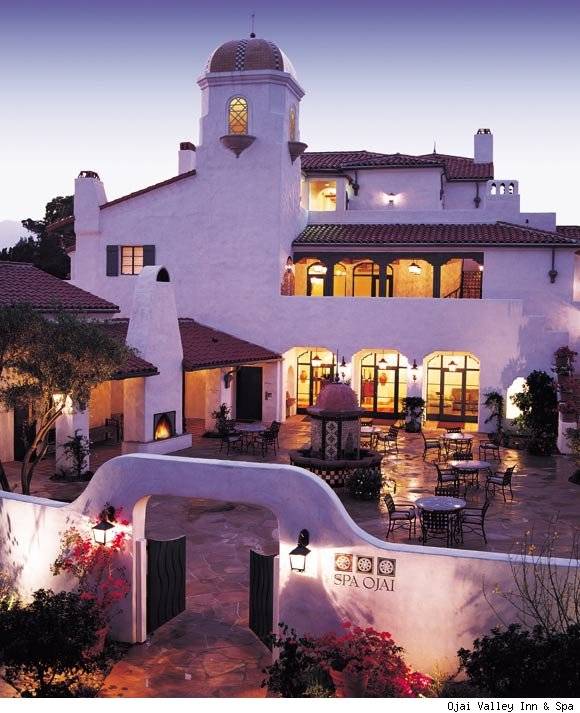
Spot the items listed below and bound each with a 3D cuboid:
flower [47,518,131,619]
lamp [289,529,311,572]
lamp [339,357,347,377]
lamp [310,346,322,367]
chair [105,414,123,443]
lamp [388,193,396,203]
[{"bbox_3d":[-2.628,2.825,11.547,1.009,1.054,0.369,1,-1,31],"label":"flower"},{"bbox_3d":[0.118,2.403,10.588,0.253,0.409,0.402,1,0,2],"label":"lamp"},{"bbox_3d":[1.740,0.375,28.553,0.285,0.538,0.848,1,0,4],"label":"lamp"},{"bbox_3d":[0.910,0.072,30.502,0.440,0.716,0.467,-2,3,-13],"label":"lamp"},{"bbox_3d":[-5.108,2.089,25.138,0.471,0.725,0.727,2,0,-16],"label":"chair"},{"bbox_3d":[3.921,-6.115,33.506,0.340,0.512,0.329,0,3,0],"label":"lamp"}]
